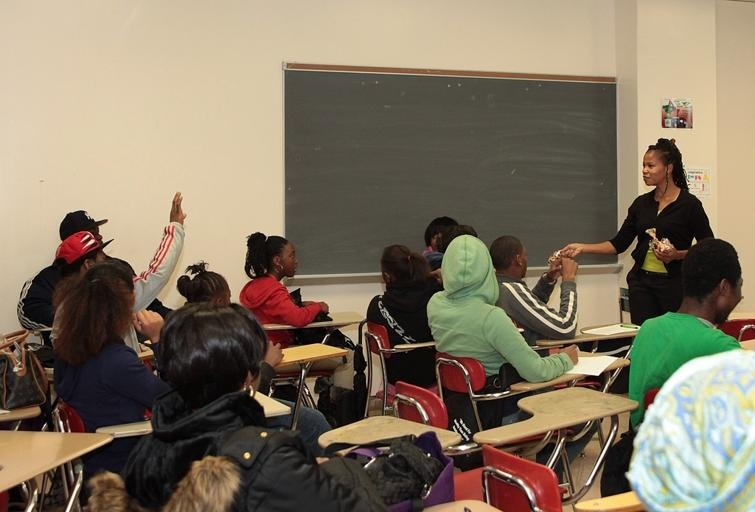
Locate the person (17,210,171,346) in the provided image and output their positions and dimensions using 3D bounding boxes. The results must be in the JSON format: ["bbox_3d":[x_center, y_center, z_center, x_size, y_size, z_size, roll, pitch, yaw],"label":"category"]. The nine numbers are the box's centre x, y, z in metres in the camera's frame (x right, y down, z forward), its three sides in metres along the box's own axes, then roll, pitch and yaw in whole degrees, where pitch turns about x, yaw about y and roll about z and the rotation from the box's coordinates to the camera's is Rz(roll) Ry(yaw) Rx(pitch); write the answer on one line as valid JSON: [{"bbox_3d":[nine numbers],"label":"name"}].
[{"bbox_3d":[-1.944,0.138,4.183,1.102,0.927,0.666,-20,12,-15],"label":"person"}]

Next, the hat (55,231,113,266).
[{"bbox_3d":[-1.772,-0.062,3.438,0.300,0.098,0.189,-28,28,-34],"label":"hat"}]
